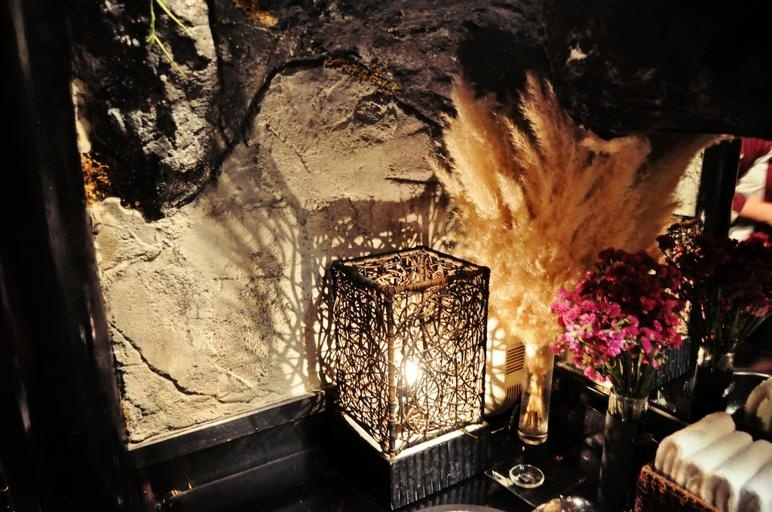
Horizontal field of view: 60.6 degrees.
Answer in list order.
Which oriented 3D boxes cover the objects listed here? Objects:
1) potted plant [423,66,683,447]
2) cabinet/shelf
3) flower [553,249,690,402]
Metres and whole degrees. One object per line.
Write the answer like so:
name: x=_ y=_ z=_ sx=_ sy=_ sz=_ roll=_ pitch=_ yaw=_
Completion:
potted plant: x=0.400 y=-0.083 z=2.058 sx=0.867 sy=1.203 sz=0.796 roll=-1 pitch=12 yaw=1
cabinet/shelf: x=0.506 y=0.509 z=1.767 sx=0.333 sy=0.312 sz=0.470 roll=-5 pitch=28 yaw=-27
flower: x=0.590 y=0.128 z=1.703 sx=0.346 sy=0.379 sz=0.329 roll=-6 pitch=10 yaw=-33
